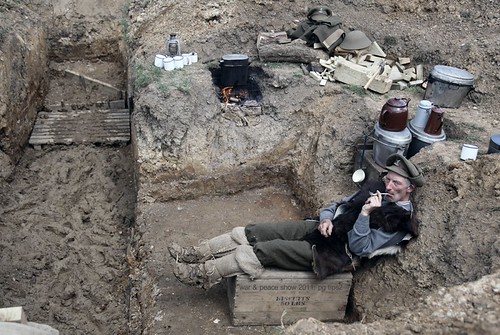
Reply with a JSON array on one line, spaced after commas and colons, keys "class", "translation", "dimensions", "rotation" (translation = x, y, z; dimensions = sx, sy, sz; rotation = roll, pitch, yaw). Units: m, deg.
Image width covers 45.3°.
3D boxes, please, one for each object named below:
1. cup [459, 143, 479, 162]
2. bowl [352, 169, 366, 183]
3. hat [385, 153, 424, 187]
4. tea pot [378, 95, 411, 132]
[{"class": "cup", "translation": [3.220, -0.224, 8.794], "dimensions": [0.222, 0.264, 0.240], "rotation": [2, 18, -1]}, {"class": "bowl", "translation": [1.724, 0.144, 9.586], "dimensions": [0.120, 0.197, 0.207], "rotation": [16, 48, -35]}, {"class": "hat", "translation": [2.237, 0.022, 8.662], "dimensions": [0.512, 0.461, 0.197], "rotation": [33, 87, -16]}, {"class": "tea pot", "translation": [2.278, -0.821, 9.369], "dimensions": [0.458, 0.401, 0.440], "rotation": [5, 48, -6]}]
